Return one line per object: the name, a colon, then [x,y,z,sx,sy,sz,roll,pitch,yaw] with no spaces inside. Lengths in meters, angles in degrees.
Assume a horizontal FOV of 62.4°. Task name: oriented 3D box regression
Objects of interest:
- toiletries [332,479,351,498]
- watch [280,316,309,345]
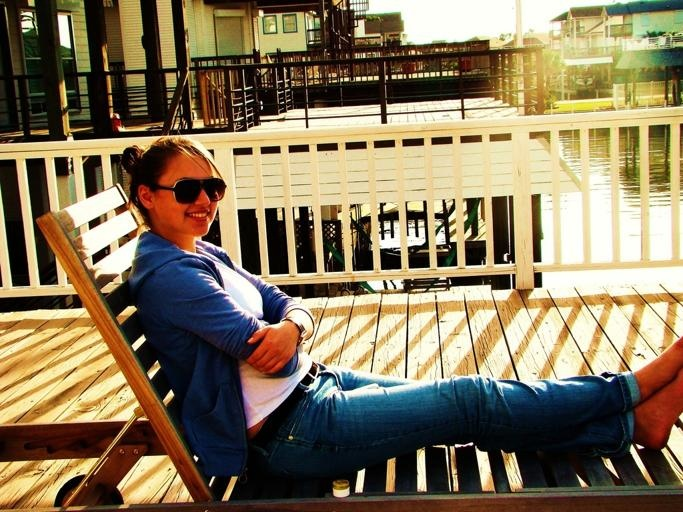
toiletries: [0.000,0.726,1.776,0.055,0.030,0.075,-3,13,3]
watch: [-0.163,0.270,1.994,0.036,0.098,0.072,-47,46,-16]
